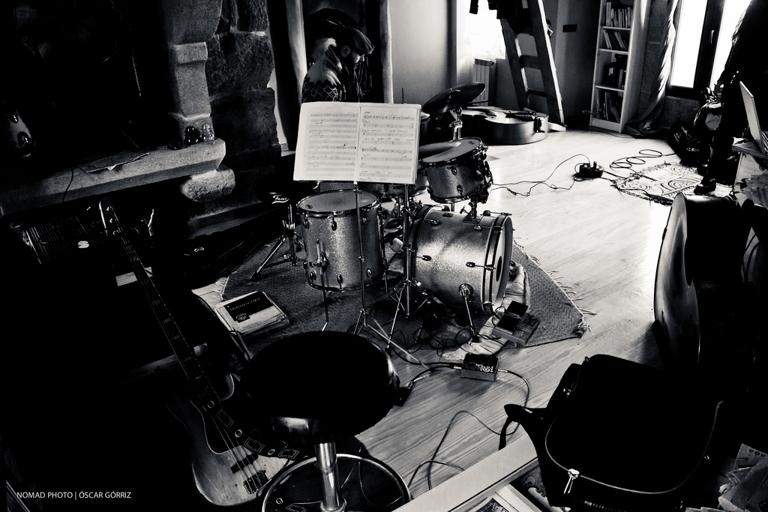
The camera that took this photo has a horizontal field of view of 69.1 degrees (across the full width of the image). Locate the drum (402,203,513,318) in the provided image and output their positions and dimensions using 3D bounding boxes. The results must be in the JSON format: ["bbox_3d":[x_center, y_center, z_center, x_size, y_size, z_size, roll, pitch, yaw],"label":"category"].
[{"bbox_3d":[0.596,-0.009,4.237,0.729,0.778,0.779,26,11,36],"label":"drum"}]

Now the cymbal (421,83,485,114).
[{"bbox_3d":[0.689,-1.575,5.555,0.439,0.127,0.399,-33,14,-6],"label":"cymbal"}]

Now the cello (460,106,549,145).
[{"bbox_3d":[1.604,-1.766,7.649,1.164,0.300,0.819,4,26,10],"label":"cello"}]

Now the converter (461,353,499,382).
[{"bbox_3d":[0.654,0.736,3.810,0.249,0.125,0.204,4,27,14],"label":"converter"}]

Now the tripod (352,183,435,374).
[{"bbox_3d":[0.065,0.198,4.016,0.714,1.222,0.682,-19,45,-17],"label":"tripod"}]

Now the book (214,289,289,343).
[{"bbox_3d":[-1.036,0.446,4.298,0.361,0.088,0.372,-14,38,-29],"label":"book"}]

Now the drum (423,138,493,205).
[{"bbox_3d":[0.590,-0.678,4.716,0.631,0.455,0.808,9,28,23],"label":"drum"}]
